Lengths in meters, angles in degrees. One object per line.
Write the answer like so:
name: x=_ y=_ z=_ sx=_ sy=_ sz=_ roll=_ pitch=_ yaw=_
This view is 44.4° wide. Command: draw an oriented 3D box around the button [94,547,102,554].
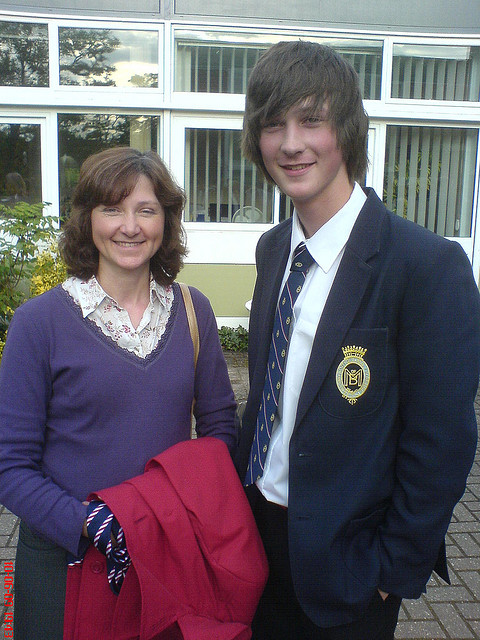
button: x=-0.356 y=0.584 z=1.488 sx=0.005 sy=0.022 sz=0.015 roll=-48 pitch=16 yaw=-25

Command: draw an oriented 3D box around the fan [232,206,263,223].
fan: x=0.104 y=-1.306 z=7.422 sx=0.238 sy=0.254 sz=0.057 roll=-17 pitch=11 yaw=-9

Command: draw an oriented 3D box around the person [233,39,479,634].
person: x=0.267 y=0.139 z=1.607 sx=0.394 sy=1.730 sz=0.734 roll=-3 pitch=12 yaw=-26

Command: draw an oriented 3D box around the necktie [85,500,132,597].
necktie: x=-0.321 y=0.564 z=1.462 sx=0.156 sy=0.201 sz=0.058 roll=30 pitch=-31 yaw=-36

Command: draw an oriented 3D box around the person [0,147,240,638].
person: x=-0.342 y=0.148 z=1.726 sx=0.502 sy=1.281 sz=0.755 roll=11 pitch=14 yaw=40
